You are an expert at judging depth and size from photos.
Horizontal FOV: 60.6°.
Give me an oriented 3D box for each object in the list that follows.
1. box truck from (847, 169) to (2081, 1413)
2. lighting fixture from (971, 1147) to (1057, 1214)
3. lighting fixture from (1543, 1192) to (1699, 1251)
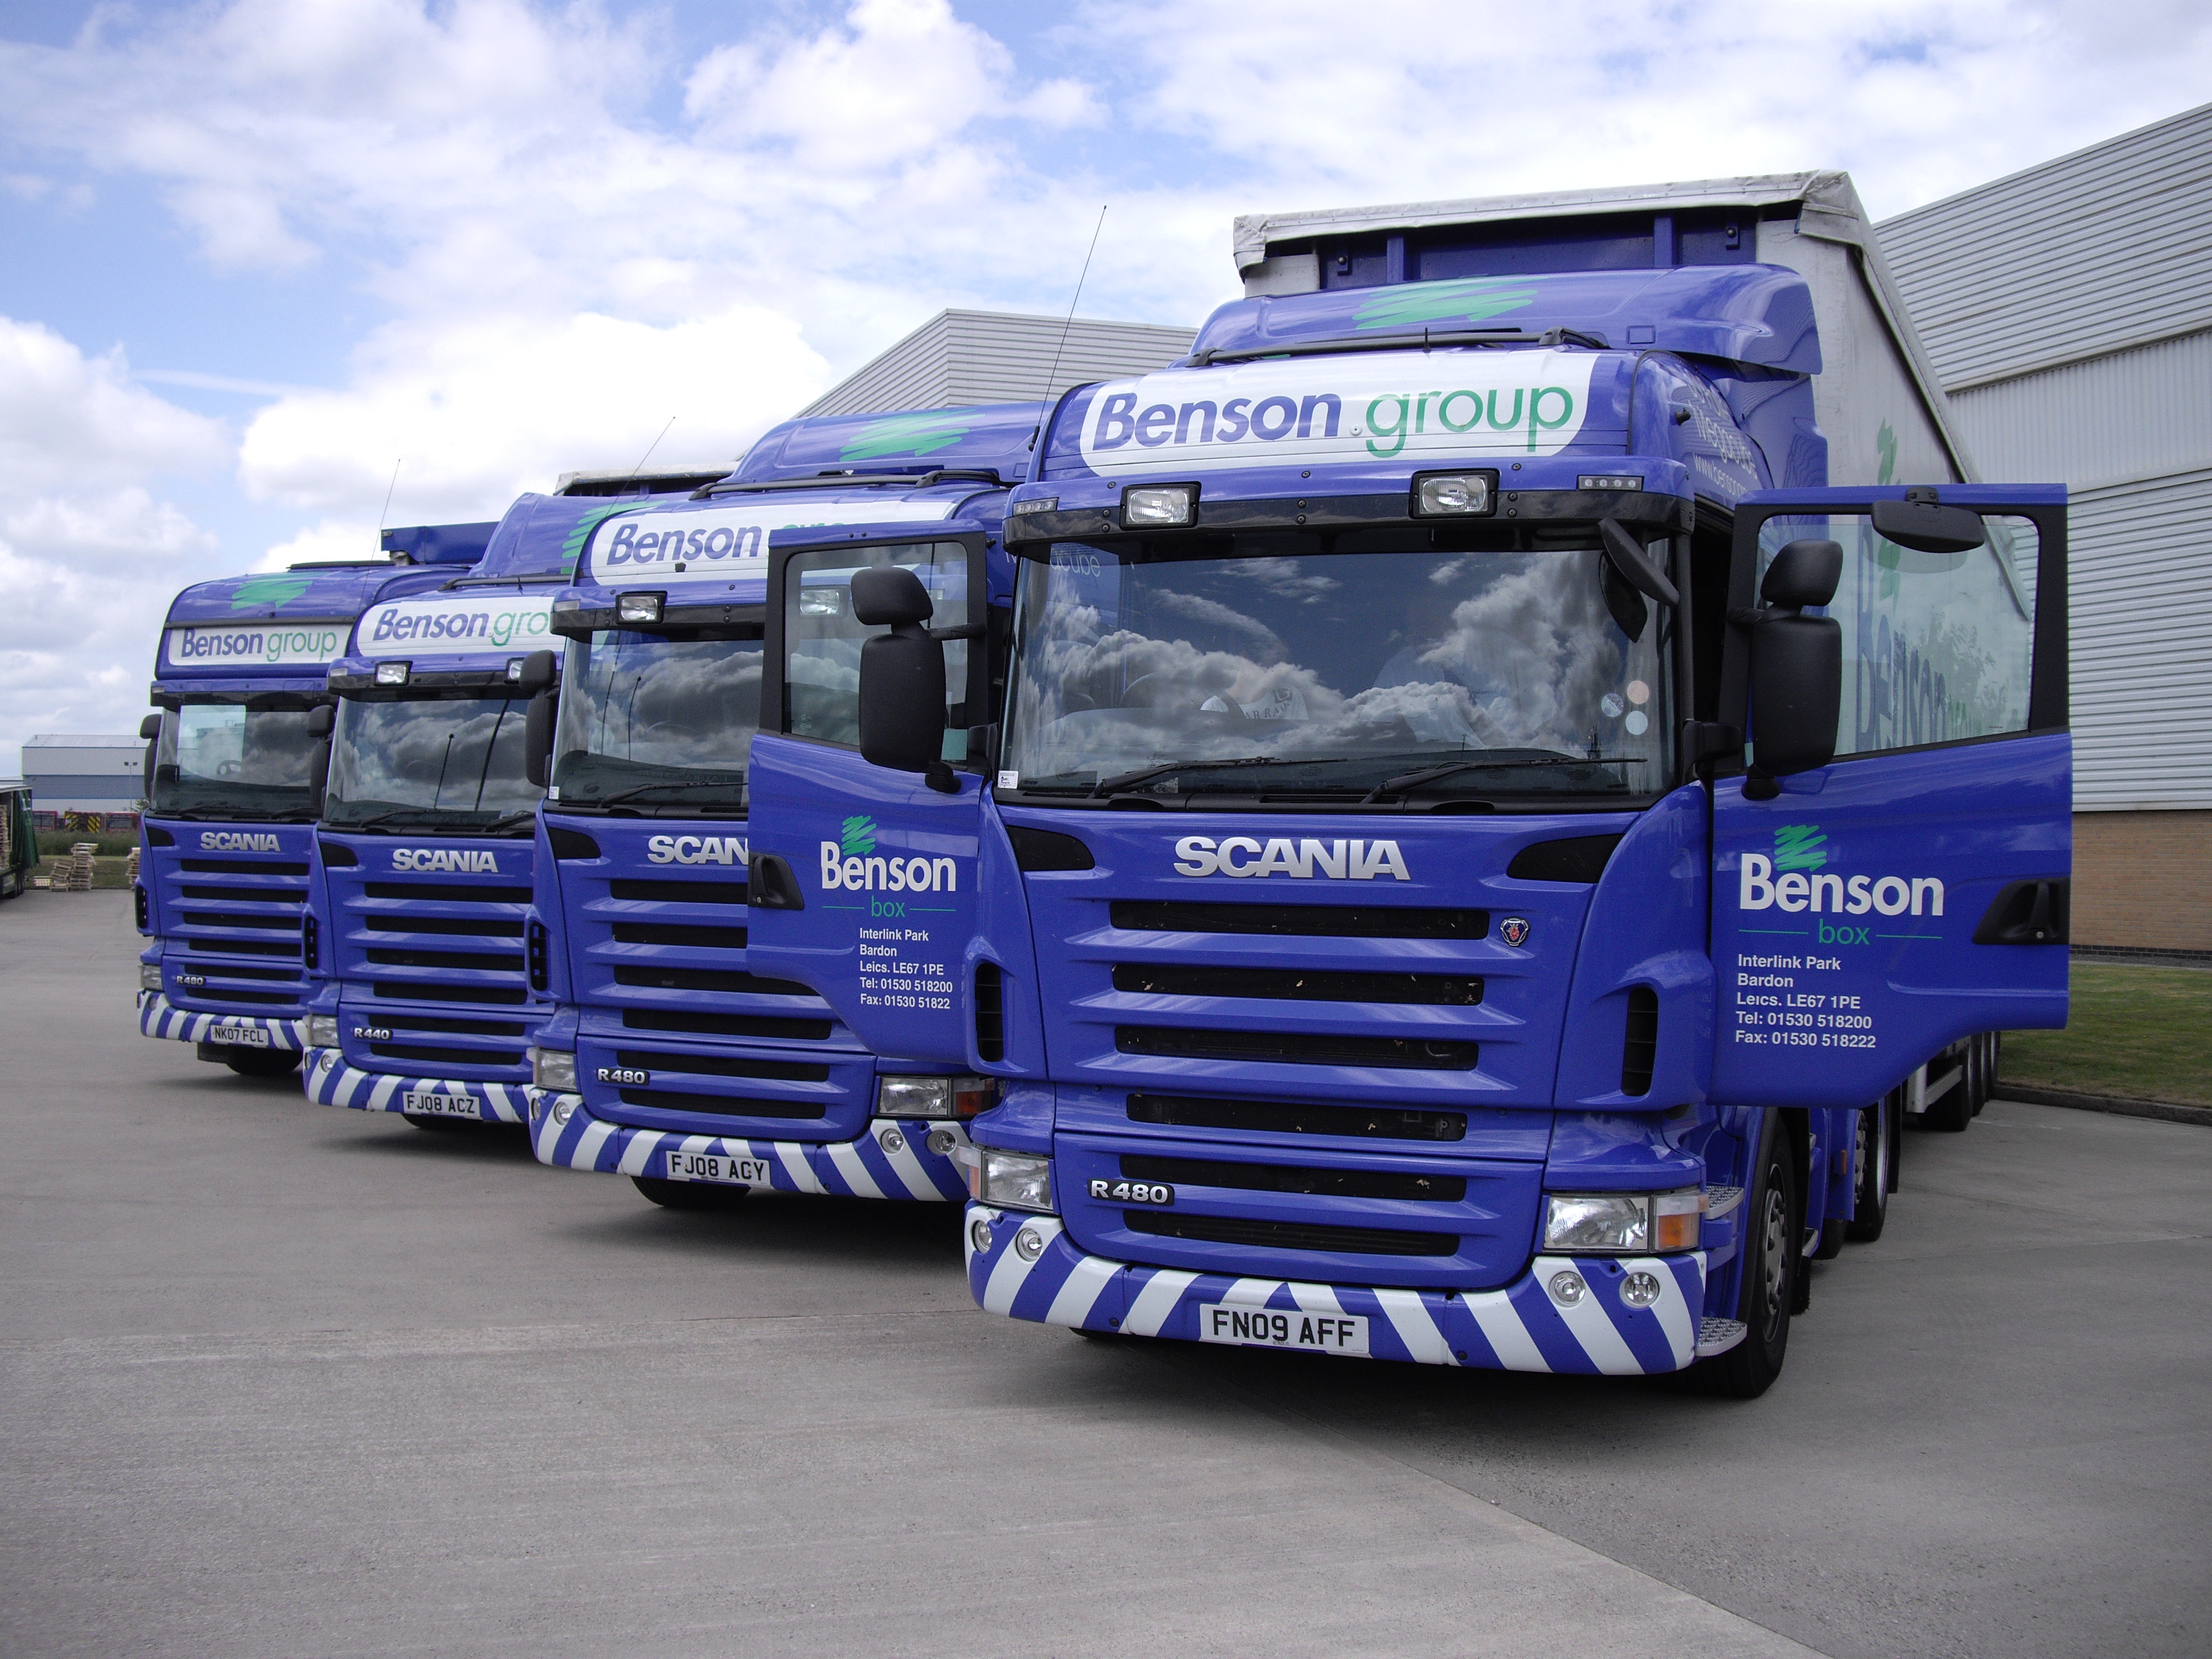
[{"bbox_3d":[2.874,-0.037,9.738,3.378,3.435,7.344,-2,-4,28],"label":"box truck"},{"bbox_3d":[-0.360,1.352,7.327,0.250,0.153,0.257,0,-1,26],"label":"lighting fixture"},{"bbox_3d":[1.811,1.372,6.659,0.345,0.119,0.258,-1,-3,11],"label":"lighting fixture"}]
